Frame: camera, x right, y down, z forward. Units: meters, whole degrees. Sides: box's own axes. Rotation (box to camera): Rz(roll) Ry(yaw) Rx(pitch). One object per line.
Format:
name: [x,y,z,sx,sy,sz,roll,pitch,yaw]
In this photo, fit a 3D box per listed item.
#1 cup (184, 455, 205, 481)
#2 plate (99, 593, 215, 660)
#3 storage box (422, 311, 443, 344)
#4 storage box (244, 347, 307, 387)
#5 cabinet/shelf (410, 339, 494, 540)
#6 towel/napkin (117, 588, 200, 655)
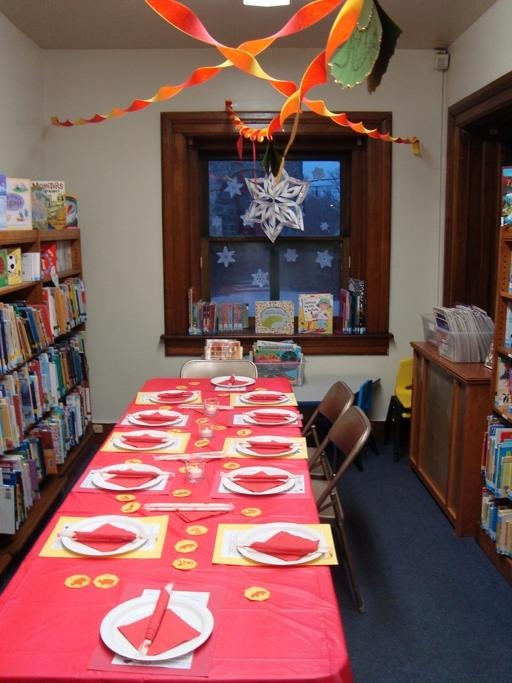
cup: [-0.213,0.450,1.785,0.068,0.081,0.070,0,2,0]
plate: [-0.191,0.534,0.979,0.150,0.019,0.216,2,5,-1]
storage box: [1.259,-0.112,3.563,0.160,0.212,0.285,-2,12,6]
storage box: [0.184,0.171,4.019,0.321,0.216,0.333,0,9,-2]
cabinet/shelf: [1.218,0.604,3.044,0.299,0.912,1.036,-1,8,0]
towel/napkin: [-0.185,0.534,0.930,0.113,0.021,0.128,-8,10,-40]
